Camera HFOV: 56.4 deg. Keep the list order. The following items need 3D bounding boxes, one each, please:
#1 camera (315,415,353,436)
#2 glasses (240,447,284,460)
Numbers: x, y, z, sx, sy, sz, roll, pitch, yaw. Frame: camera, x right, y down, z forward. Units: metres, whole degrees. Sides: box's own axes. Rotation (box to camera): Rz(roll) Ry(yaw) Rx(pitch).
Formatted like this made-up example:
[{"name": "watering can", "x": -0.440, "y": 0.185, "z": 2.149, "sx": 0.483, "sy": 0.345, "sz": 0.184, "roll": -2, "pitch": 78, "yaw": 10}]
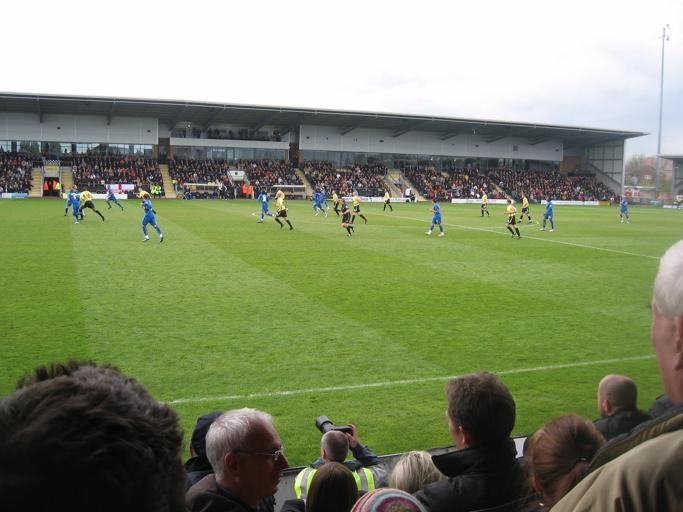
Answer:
[{"name": "camera", "x": -0.044, "y": 1.253, "z": 4.652, "sx": 0.141, "sy": 0.121, "sz": 0.470, "roll": 3, "pitch": 0, "yaw": -17}, {"name": "glasses", "x": -0.363, "y": 0.910, "z": 2.945, "sx": 0.099, "sy": 0.028, "sz": 0.093, "roll": 2, "pitch": -5, "yaw": 13}]
